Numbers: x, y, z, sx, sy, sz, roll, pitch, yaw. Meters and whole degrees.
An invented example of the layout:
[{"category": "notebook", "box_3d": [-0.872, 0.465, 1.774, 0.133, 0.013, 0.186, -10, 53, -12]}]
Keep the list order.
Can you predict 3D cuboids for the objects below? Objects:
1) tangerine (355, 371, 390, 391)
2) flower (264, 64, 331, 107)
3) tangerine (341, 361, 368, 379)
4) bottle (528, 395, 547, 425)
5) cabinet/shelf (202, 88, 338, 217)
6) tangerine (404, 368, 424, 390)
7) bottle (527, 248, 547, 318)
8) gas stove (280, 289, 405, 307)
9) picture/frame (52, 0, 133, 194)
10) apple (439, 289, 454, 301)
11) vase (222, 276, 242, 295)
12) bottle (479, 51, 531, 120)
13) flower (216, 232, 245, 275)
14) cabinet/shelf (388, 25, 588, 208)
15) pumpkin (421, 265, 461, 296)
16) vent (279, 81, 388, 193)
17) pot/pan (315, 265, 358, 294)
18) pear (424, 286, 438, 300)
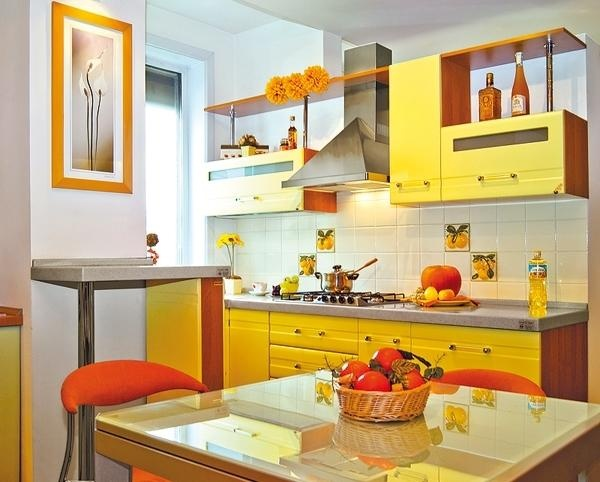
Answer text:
[{"category": "tangerine", "box_3d": [0.166, 0.313, 1.196, 0.050, 0.053, 0.049, 1, 4, 36]}, {"category": "flower", "box_3d": [-0.012, -1.189, 3.853, 0.431, 0.263, 0.185, -18, -4, 29]}, {"category": "tangerine", "box_3d": [0.145, 0.324, 1.300, 0.054, 0.048, 0.045, 21, -9, -31]}, {"category": "bottle", "box_3d": [0.630, 0.450, 1.344, 0.045, 0.090, 0.047, 4, -9, 1]}, {"category": "cabinet/shelf", "box_3d": [-0.289, -0.705, 4.205, 1.063, 0.978, 0.401, -1, -4, 39]}, {"category": "tangerine", "box_3d": [0.275, 0.324, 1.216, 0.042, 0.044, 0.043, 2, 1, 23]}, {"category": "bottle", "box_3d": [1.254, 0.215, 2.665, 0.085, 0.326, 0.318, -1, 1, 25]}, {"category": "gas stove", "box_3d": [0.286, 0.372, 3.539, 0.875, 0.066, 0.580, -1, 1, 41]}, {"category": "picture/frame", "box_3d": [-1.134, -0.762, 2.758, 0.089, 0.653, 0.448, 0, 2, 37]}, {"category": "apple", "box_3d": [0.904, 0.323, 3.110, 0.071, 0.069, 0.067, -31, 2, 24]}, {"category": "vase", "box_3d": [-0.538, 0.368, 4.160, 0.136, 0.192, 0.141, 8, -12, -42]}, {"category": "bottle", "box_3d": [1.213, -0.922, 3.019, 0.273, 0.409, 0.246, -1, 1, 25]}, {"category": "flower", "box_3d": [-0.610, 0.108, 4.394, 0.244, 0.370, 0.499, -2, 1, -7]}, {"category": "cabinet/shelf", "box_3d": [1.109, -0.699, 3.140, 1.068, 0.911, 0.409, 2, 1, 44]}, {"category": "pumpkin", "box_3d": [0.908, 0.241, 3.245, 0.190, 0.201, 0.195, -3, -6, 3]}, {"category": "vent", "box_3d": [0.334, -0.786, 3.617, 0.753, 0.791, 0.541, 0, 1, 40]}, {"category": "pot/pan", "box_3d": [0.273, 0.274, 3.630, 0.266, 0.148, 0.185, -1, 1, 20]}, {"category": "pear", "box_3d": [0.800, 0.317, 3.077, 0.067, 0.075, 0.074, -5, 35, 11]}]
